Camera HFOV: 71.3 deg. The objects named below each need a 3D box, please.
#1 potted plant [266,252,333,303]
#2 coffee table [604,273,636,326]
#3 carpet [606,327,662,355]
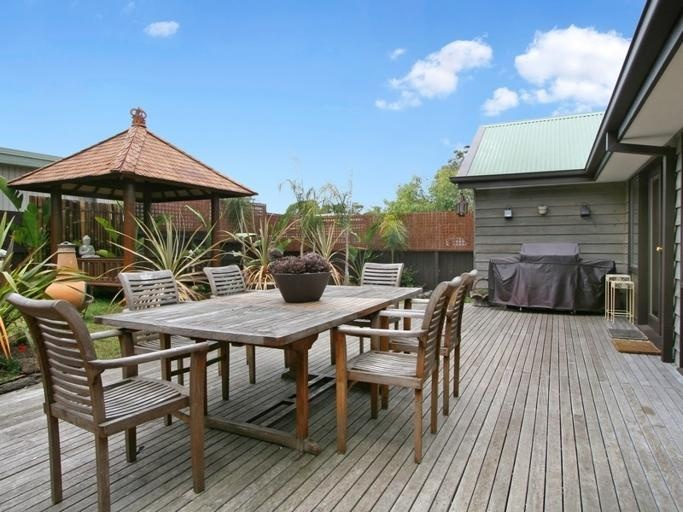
[{"bbox_3d":[-0.340,0.200,4.212,0.419,0.317,0.451,-1,-5,0],"label":"potted plant"},{"bbox_3d":[4.279,0.703,7.386,0.261,0.642,0.726,-1,-1,17],"label":"coffee table"},{"bbox_3d":[3.572,1.054,5.910,0.445,0.109,1.181,4,10,23],"label":"carpet"}]
